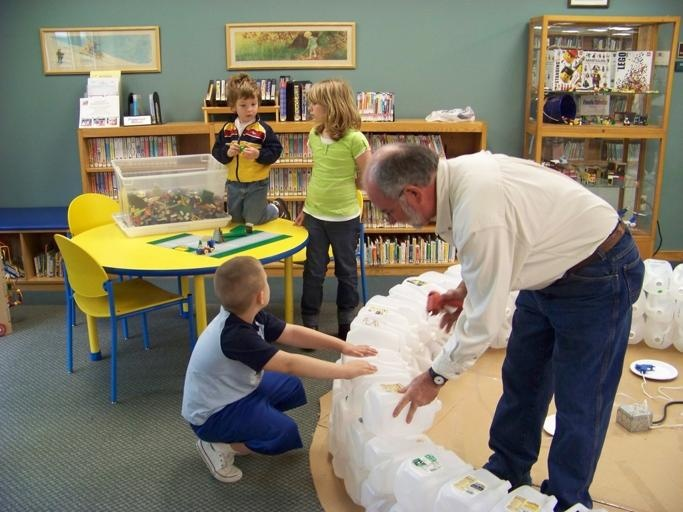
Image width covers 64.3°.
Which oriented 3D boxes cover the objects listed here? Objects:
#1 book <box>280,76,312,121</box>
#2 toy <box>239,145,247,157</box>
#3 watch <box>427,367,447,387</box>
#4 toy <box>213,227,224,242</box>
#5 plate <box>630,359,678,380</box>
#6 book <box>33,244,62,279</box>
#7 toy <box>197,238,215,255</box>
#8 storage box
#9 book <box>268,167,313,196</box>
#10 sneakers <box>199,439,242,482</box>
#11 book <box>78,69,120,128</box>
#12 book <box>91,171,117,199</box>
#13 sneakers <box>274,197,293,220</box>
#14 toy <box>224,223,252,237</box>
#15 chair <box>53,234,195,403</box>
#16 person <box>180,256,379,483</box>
[{"bbox_3d":[-0.400,-1.335,4.689,0.309,0.452,0.356,0,12,-3],"label":"book"},{"bbox_3d":[-0.708,-0.744,3.848,0.054,0.078,0.072,3,6,0],"label":"toy"},{"bbox_3d":[0.383,0.494,2.203,0.080,0.044,0.065,36,-2,10],"label":"watch"},{"bbox_3d":[-0.797,-0.131,3.561,0.078,0.132,0.081,0,4,-4],"label":"toy"},{"bbox_3d":[1.991,0.733,3.455,0.149,0.016,0.150,-3,16,5],"label":"plate"},{"bbox_3d":[-2.659,0.050,4.941,0.107,0.326,0.241,1,2,-6],"label":"book"},{"bbox_3d":[-0.855,-0.050,3.415,0.057,0.088,0.177,-1,3,-2],"label":"toy"},{"bbox_3d":[-1.118,-0.475,3.925,0.768,0.483,0.586,-5,22,2],"label":"storage box"},{"bbox_3d":[-0.468,-0.700,4.974,0.398,0.393,0.229,2,14,0],"label":"book"},{"bbox_3d":[-0.616,1.037,2.751,0.131,0.198,0.070,-39,-8,-2],"label":"sneakers"},{"bbox_3d":[-2.097,-1.370,4.720,0.374,0.493,0.399,-6,14,-22],"label":"book"},{"bbox_3d":[-2.120,-0.673,4.980,0.268,0.269,0.200,3,11,2],"label":"book"},{"bbox_3d":[-0.506,-0.424,4.682,0.079,0.170,0.237,-3,31,0],"label":"sneakers"},{"bbox_3d":[-0.722,-0.166,3.762,0.122,0.043,0.123,-11,18,-37],"label":"toy"},{"bbox_3d":[-1.450,0.317,3.578,0.608,1.049,0.705,16,20,38],"label":"chair"},{"bbox_3d":[-0.357,0.539,2.800,0.888,1.127,0.446,0,13,4],"label":"person"}]
